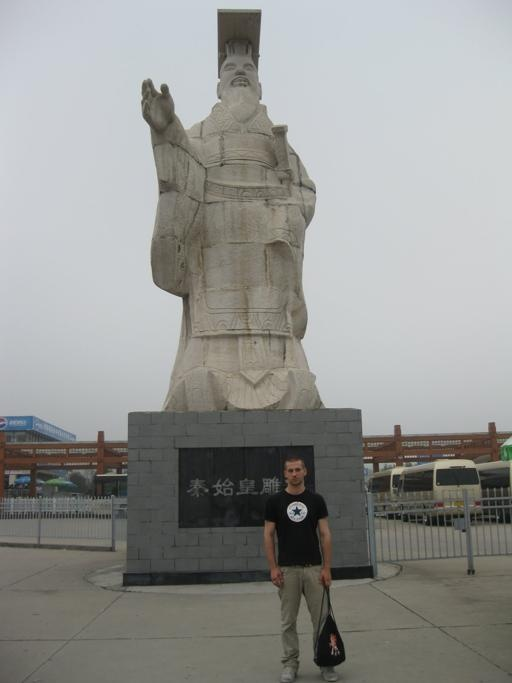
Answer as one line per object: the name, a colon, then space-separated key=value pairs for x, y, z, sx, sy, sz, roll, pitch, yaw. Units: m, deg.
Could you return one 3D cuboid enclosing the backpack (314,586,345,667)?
backpack: x=0.451 y=1.803 z=4.448 sx=0.187 sy=0.516 sz=0.240 roll=-3 pitch=-10 yaw=3
